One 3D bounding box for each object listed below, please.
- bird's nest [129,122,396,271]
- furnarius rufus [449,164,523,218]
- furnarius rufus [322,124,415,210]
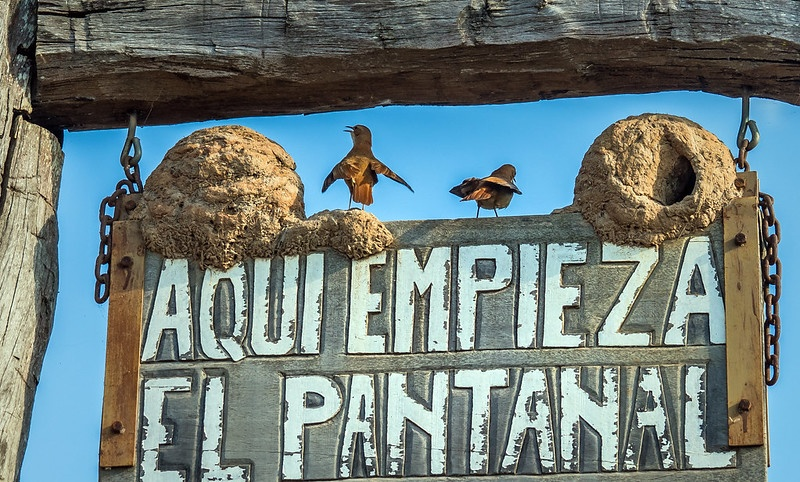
[{"bbox_3d":[-1.241,-0.311,21.809,2.105,0.819,1.433,1,1,-11],"label":"bird's nest"},{"bbox_3d":[0.854,-0.508,22.455,0.532,0.443,0.684,-6,-22,29],"label":"furnarius rufus"},{"bbox_3d":[-0.324,-0.514,19.285,0.853,0.640,0.414,-5,-26,23],"label":"furnarius rufus"}]
